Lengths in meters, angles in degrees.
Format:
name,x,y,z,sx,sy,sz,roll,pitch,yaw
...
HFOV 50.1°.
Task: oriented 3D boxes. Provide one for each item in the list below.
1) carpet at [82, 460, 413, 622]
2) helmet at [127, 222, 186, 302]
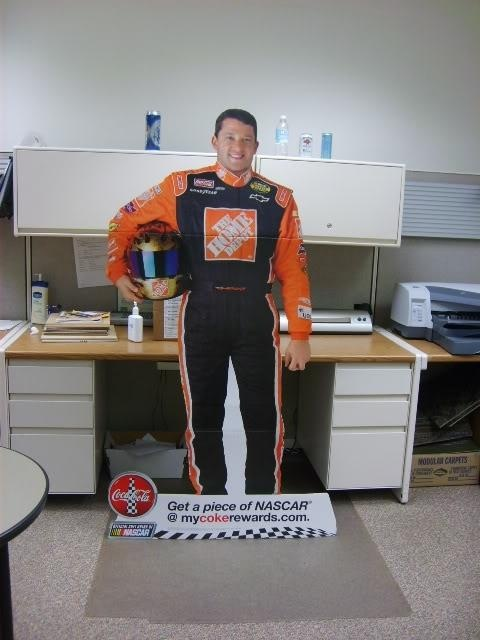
name,x,y,z,sx,sy,sz,roll,pitch,yaw
carpet,0.016,0.751,1.889,1.077,0.330,0.592,1,12,-6
helmet,-0.312,-0.239,1.892,0.207,0.242,0.274,-9,31,-18
